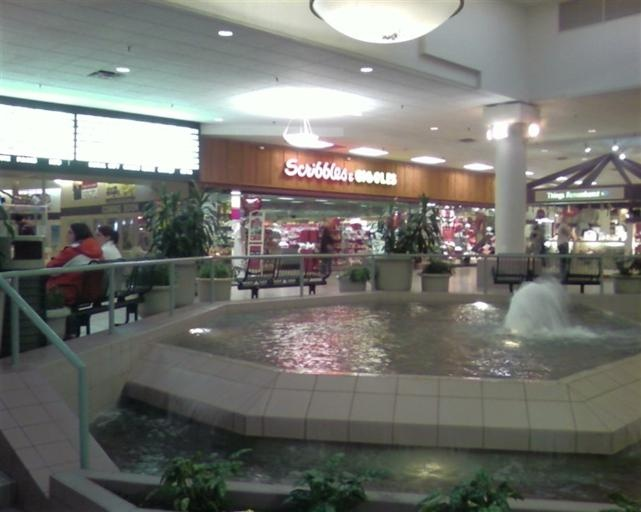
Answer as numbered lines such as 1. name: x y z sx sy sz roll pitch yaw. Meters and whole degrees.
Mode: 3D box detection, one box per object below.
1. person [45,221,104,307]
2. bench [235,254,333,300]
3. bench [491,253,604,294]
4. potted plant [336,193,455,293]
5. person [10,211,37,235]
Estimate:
1. person: -2.933 0.094 5.864 0.605 0.916 1.509 -3 6 -26
2. bench: -0.855 0.475 10.939 2.053 0.966 0.945 -2 5 -26
3. bench: 5.430 0.433 11.656 1.312 1.060 2.685 -5 7 -37
4. potted plant: 1.941 -0.266 11.789 2.611 2.229 1.702 -1 6 -7
5. person: -6.247 -0.673 10.223 0.317 0.275 0.841 -21 28 -20
